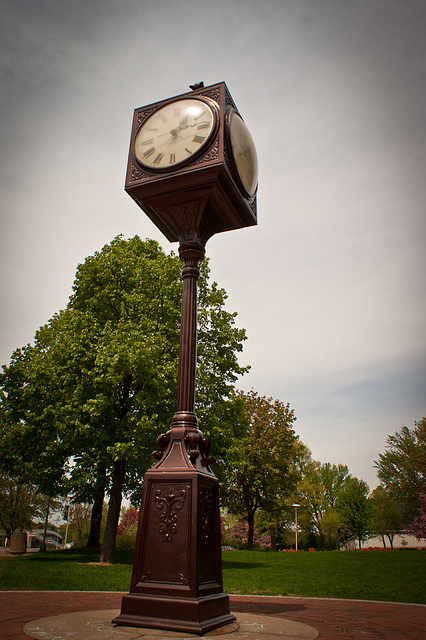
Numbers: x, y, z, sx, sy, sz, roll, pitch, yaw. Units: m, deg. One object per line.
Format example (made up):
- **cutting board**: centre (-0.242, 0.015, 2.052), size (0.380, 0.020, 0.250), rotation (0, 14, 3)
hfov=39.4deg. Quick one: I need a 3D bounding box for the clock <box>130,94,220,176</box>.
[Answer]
- **clock**: centre (-0.563, -2.598, 8.329), size (1.256, 0.190, 1.365), rotation (-20, -24, -19)
